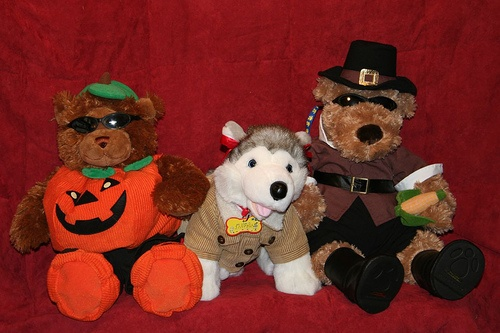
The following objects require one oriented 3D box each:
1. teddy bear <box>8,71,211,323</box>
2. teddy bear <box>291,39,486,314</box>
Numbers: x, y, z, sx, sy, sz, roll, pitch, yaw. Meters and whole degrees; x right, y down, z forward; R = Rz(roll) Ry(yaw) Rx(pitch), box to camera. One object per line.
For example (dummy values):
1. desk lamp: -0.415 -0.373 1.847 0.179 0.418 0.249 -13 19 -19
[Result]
1. teddy bear: -0.532 0.119 1.822 0.737 0.756 0.530 -1 19 6
2. teddy bear: 0.646 -0.056 2.150 0.810 1.039 0.979 -8 17 -16
